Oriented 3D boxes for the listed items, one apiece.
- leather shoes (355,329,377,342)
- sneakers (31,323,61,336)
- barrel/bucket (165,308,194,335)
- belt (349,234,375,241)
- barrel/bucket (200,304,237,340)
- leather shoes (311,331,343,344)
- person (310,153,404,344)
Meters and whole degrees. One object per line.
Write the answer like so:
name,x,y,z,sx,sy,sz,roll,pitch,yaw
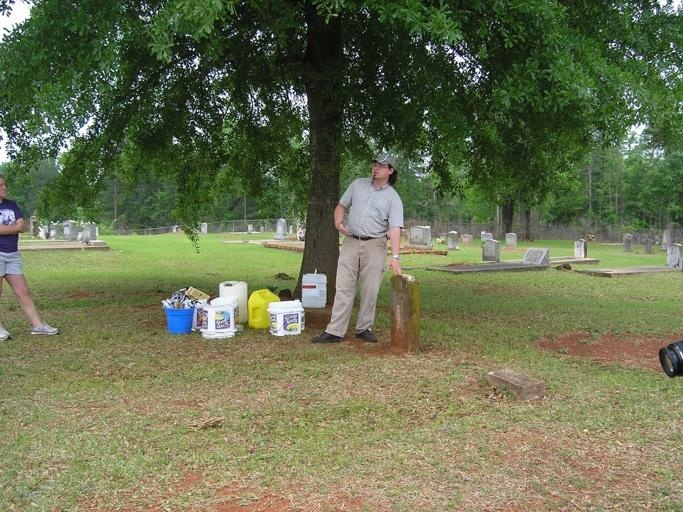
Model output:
leather shoes,0.371,1.153,9.719,0.131,0.153,0.354,-2,2,-45
sneakers,-4.343,1.086,9.899,0.407,0.177,0.173,1,3,-5
barrel/bucket,-2.422,0.983,10.035,0.365,0.299,0.385,0,-5,0
belt,0.278,-0.261,9.405,0.326,0.092,0.072,2,3,25
barrel/bucket,-1.801,0.960,9.826,0.459,0.452,0.466,0,-1,0
leather shoes,-0.217,1.166,9.545,0.440,0.191,0.163,5,-6,-4
person,0.302,-0.091,9.439,1.065,2.663,0.513,1,3,9
